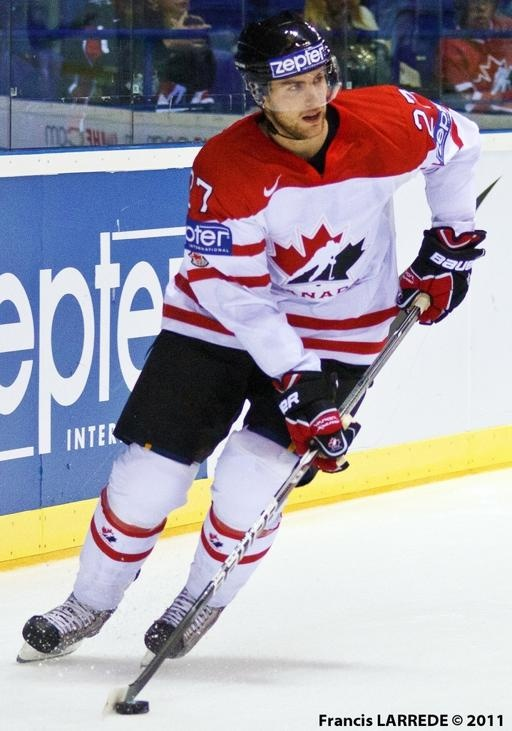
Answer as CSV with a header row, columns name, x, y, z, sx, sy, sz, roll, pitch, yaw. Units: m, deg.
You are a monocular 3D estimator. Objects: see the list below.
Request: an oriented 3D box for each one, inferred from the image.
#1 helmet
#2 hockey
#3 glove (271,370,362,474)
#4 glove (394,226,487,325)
name,x,y,z,sx,sy,sz,roll,pitch,yaw
helmet,0.052,-0.615,1.838,0.171,0.171,0.217,-33,37,-27
hockey,-0.002,0.343,2.198,0.140,1.207,0.161,43,-15,12
glove,0.133,0.112,1.932,0.185,0.212,0.088,-12,25,17
glove,0.421,-0.203,2.197,0.171,0.246,0.084,36,14,28
